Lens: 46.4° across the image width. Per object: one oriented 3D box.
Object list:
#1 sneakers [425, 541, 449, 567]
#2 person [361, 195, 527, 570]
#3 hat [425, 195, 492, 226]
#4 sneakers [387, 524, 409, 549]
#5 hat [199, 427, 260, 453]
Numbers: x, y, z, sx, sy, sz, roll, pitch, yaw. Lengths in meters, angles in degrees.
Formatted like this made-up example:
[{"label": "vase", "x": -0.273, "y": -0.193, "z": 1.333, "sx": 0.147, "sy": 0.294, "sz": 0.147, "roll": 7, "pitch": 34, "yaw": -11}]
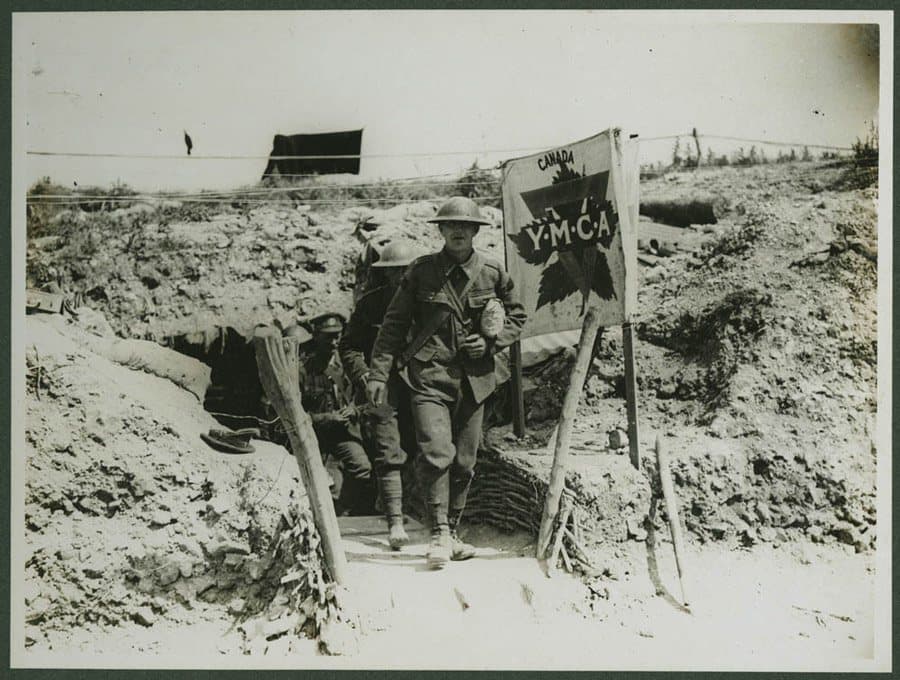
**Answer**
[{"label": "sneakers", "x": -0.094, "y": 1.890, "z": 9.151, "sx": 0.128, "sy": 0.187, "sz": 0.258, "roll": 1, "pitch": -24, "yaw": 0}, {"label": "person", "x": -0.038, "y": 0.376, "z": 9.221, "sx": 1.292, "sy": 3.226, "sz": 0.411, "roll": 1, "pitch": 3, "yaw": -5}, {"label": "hat", "x": 0.108, "y": -1.124, "z": 9.277, "sx": 0.311, "sy": 0.146, "sz": 0.318, "roll": 3, "pitch": -2, "yaw": 43}, {"label": "sneakers", "x": -0.441, "y": 1.730, "z": 9.134, "sx": 0.114, "sy": 0.171, "sz": 0.231, "roll": -1, "pitch": -16, "yaw": -4}, {"label": "hat", "x": -1.940, "y": 0.899, "z": 9.243, "sx": 0.266, "sy": 0.114, "sz": 0.291, "roll": 13, "pitch": 6, "yaw": -5}]
